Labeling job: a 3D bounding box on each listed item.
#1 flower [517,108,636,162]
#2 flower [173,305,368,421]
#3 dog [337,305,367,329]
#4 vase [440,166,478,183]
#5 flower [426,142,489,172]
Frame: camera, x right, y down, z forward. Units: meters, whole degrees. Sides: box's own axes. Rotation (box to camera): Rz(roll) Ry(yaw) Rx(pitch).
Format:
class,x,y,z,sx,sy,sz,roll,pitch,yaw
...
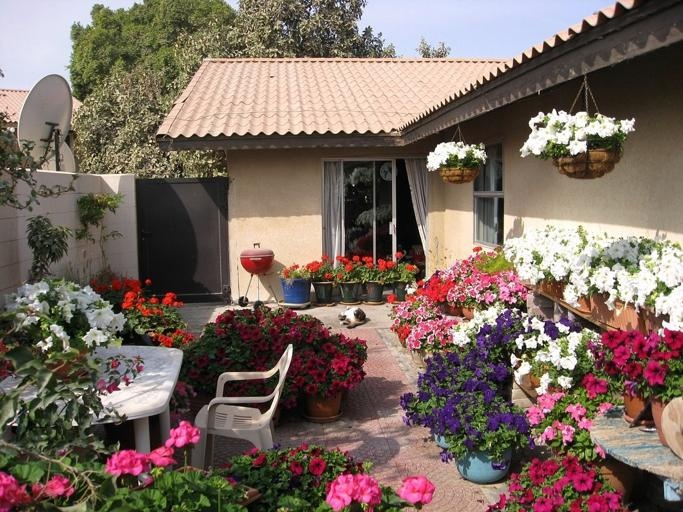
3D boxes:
class,x,y,z,sx,sy,sz,roll,pitch,yaw
flower,1.761,-0.940,4.087,0.605,0.320,0.572,-6,9,-26
flower,-0.617,0.915,5.043,1.133,0.696,1.141,1,5,-19
dog,0.167,0.942,8.110,0.240,0.250,0.402,-5,0,34
vase,1.483,-1.057,6.796,0.278,0.124,0.276,-5,4,-41
flower,1.558,-1.299,6.880,0.551,0.319,0.637,-1,8,-3
